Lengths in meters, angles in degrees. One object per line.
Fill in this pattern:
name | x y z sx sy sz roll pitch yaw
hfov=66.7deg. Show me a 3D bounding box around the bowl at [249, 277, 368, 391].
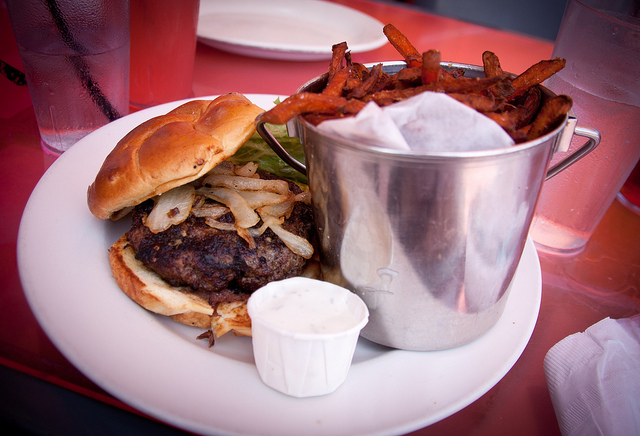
bowl | -0.048 0.393 1.564 0.395 0.227 0.359 -5 15 -33
